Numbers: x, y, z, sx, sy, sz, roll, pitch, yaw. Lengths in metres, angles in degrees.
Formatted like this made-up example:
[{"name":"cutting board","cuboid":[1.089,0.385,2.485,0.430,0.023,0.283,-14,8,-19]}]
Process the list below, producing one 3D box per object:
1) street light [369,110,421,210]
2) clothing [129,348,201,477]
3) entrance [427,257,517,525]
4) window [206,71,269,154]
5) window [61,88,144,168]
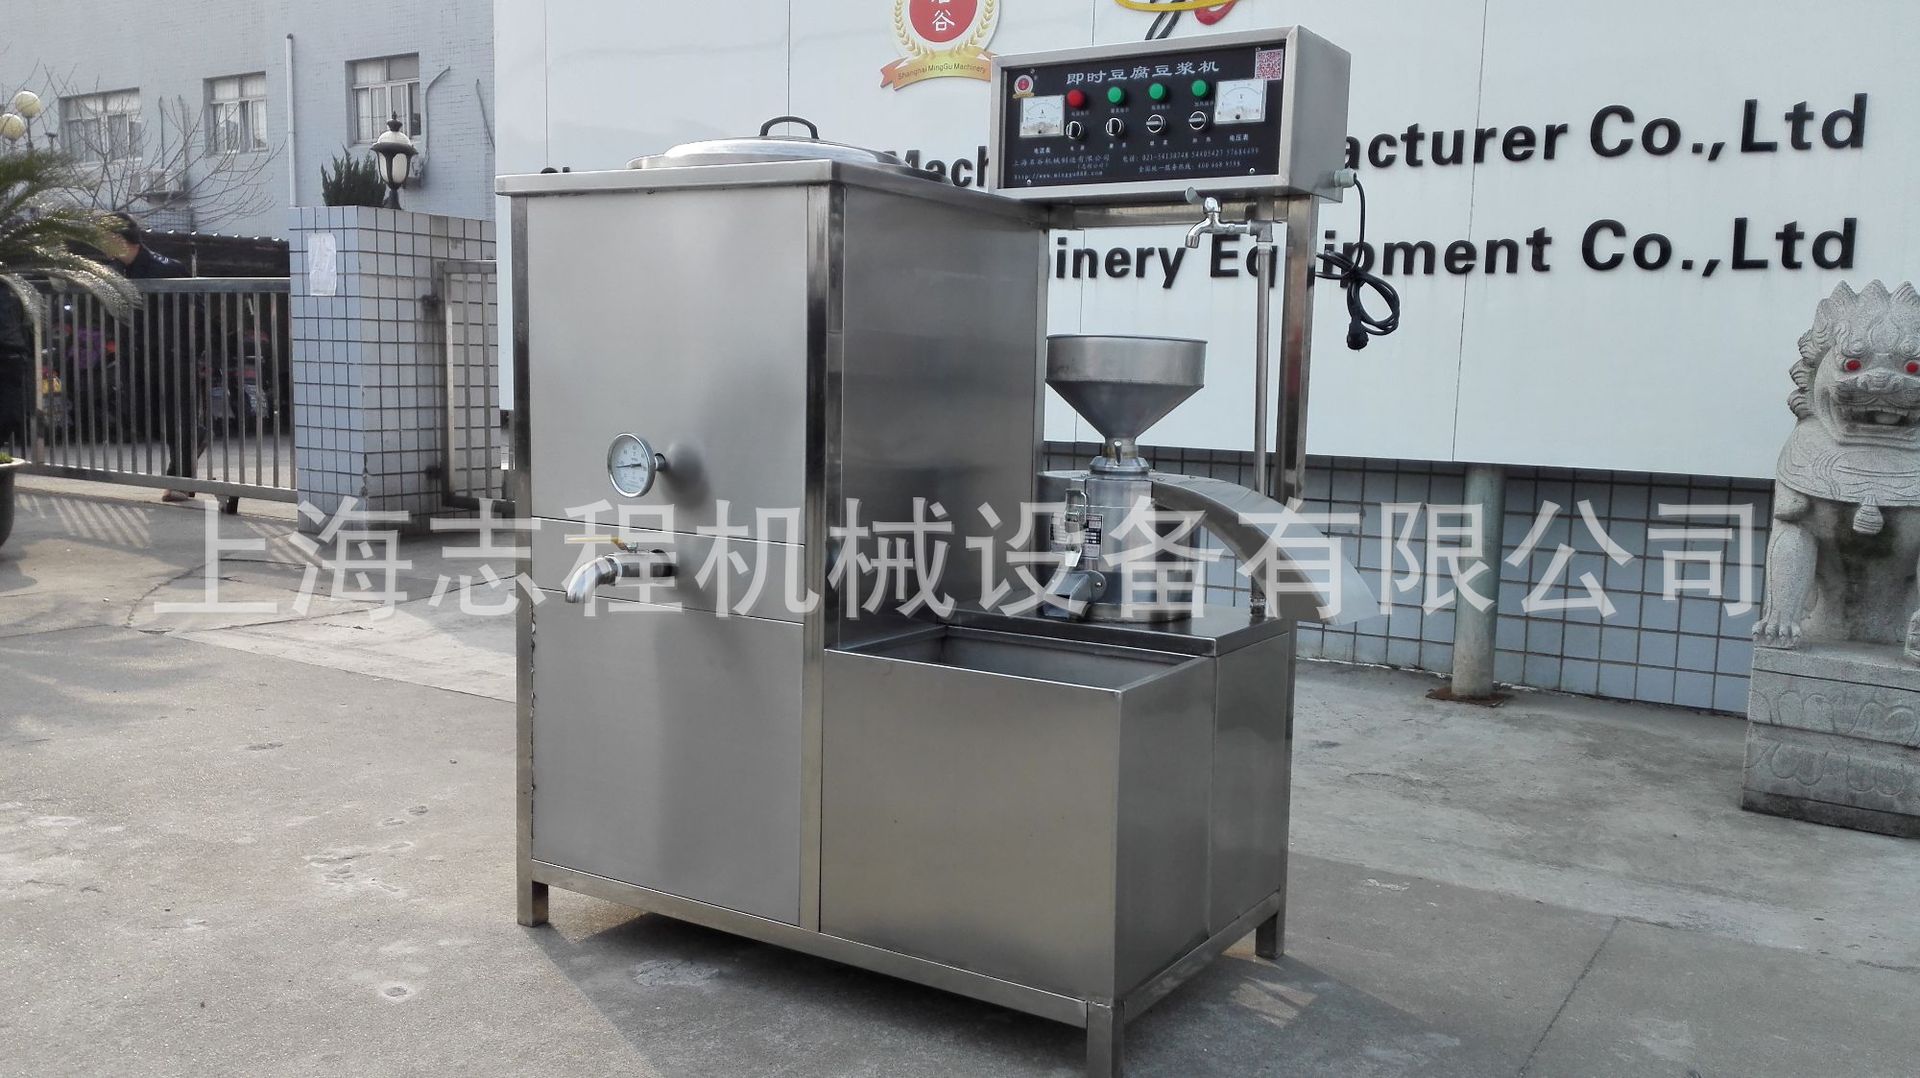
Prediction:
[{"name":"street light","cuboid":[-4.535,-3.026,10.909,0.402,0.799,0.389,-2,13,-29]},{"name":"clothing","cuboid":[-6.719,-1.100,11.460,0.707,1.188,0.280,6,6,28]},{"name":"entrance","cuboid":[-3.488,-1.291,10.093,0.928,1.571,0.882,2,-1,-17]},{"name":"window","cuboid":[-11.079,-6.634,20.870,1.253,1.215,0.124,8,17,23]},{"name":"window","cuboid":[-14.003,-6.770,22.222,1.754,1.186,0.188,-1,1,13]}]
